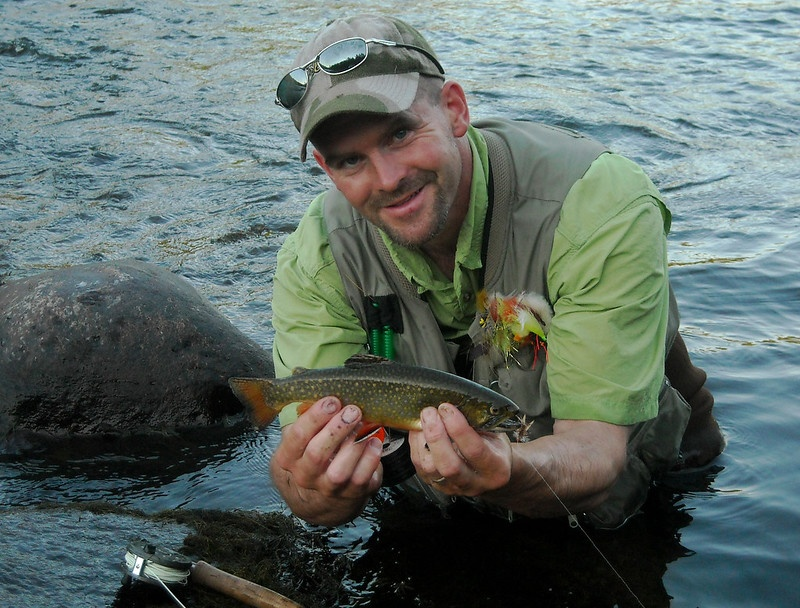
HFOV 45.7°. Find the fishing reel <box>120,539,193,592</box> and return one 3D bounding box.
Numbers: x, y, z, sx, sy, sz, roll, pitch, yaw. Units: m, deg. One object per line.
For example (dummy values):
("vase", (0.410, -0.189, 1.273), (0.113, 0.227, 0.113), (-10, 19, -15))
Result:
("fishing reel", (-1.466, 1.543, 5.722), (0.443, 0.158, 0.433), (20, -6, 2))
